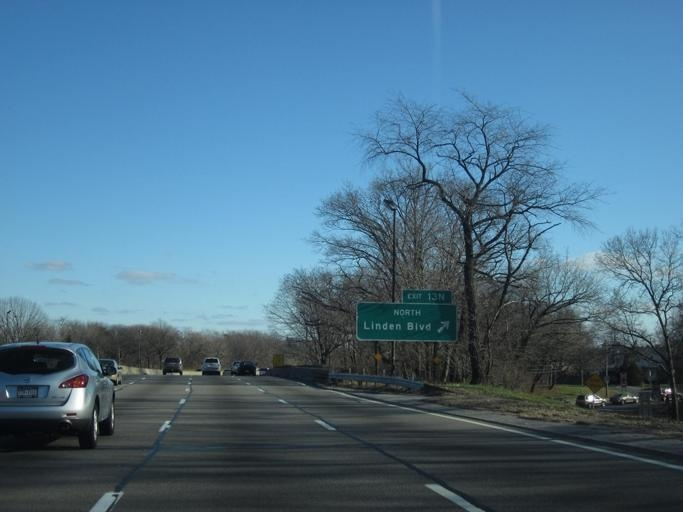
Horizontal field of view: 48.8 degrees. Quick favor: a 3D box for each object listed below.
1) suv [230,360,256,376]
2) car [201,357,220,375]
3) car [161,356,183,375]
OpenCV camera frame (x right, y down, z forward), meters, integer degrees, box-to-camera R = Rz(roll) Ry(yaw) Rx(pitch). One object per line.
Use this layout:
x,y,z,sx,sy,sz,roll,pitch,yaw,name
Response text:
-9.294,11.026,72.406,1.692,0.977,2.888,1,-2,-4,suv
-11.529,9.888,66.907,1.132,1.238,2.451,1,1,-7,car
-15.661,10.119,69.831,1.584,1.612,2.564,3,-12,-16,car
